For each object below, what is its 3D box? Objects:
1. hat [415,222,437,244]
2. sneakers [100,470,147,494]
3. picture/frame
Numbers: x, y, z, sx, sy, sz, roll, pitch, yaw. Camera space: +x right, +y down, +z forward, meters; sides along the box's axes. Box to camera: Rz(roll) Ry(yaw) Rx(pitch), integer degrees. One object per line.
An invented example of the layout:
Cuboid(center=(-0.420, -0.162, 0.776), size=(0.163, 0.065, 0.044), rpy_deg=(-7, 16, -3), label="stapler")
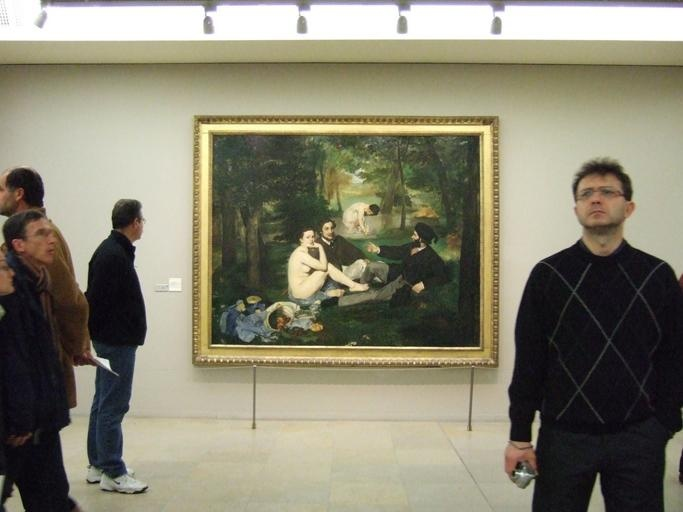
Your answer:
Cuboid(center=(1.098, -0.302, 8.152), size=(0.266, 0.137, 0.204), rpy_deg=(28, -34, 11), label="hat")
Cuboid(center=(-2.125, 2.214, 6.252), size=(0.500, 0.251, 0.184), rpy_deg=(3, -8, -6), label="sneakers")
Cuboid(center=(0.113, -0.085, 8.112), size=(2.969, 2.559, 0.112), rpy_deg=(1, 0, 2), label="picture/frame")
